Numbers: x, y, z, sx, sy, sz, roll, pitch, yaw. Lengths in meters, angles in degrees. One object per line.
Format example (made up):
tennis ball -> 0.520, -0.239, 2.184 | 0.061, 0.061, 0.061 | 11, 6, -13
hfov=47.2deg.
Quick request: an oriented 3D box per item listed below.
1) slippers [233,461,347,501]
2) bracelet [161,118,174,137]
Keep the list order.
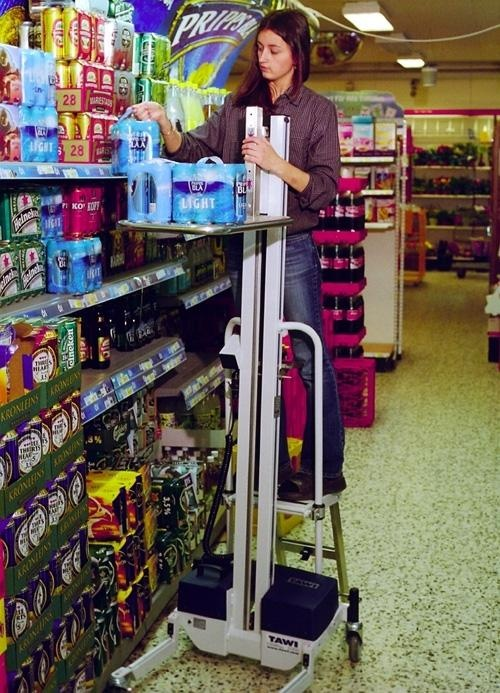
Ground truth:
slippers -> 0.194, 0.446, 1.924 | 0.241, 0.092, 0.095 | 2, 0, -28
bracelet -> -0.226, -0.589, 1.541 | 0.029, 0.042, 0.037 | -3, 13, -1
